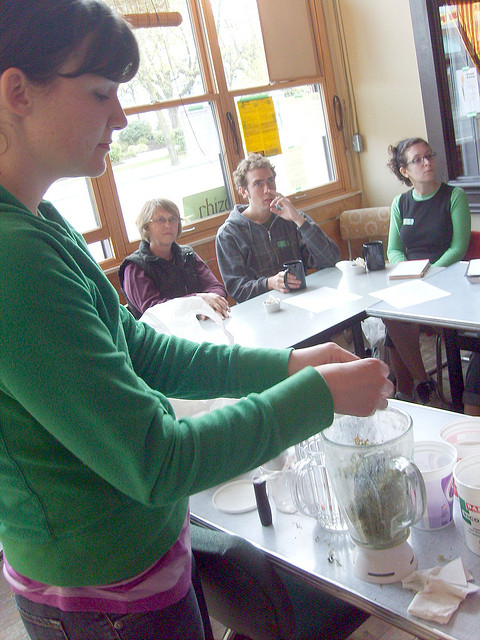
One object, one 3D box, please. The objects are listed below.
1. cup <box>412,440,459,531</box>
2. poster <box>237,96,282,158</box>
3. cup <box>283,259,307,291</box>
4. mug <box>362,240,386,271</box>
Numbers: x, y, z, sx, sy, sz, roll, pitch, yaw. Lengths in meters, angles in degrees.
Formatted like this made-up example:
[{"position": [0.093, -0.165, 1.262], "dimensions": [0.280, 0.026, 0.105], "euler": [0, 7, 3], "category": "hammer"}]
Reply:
[{"position": [0.304, 0.277, 0.781], "dimensions": [0.089, 0.112, 0.098], "euler": [0, -20, -2], "category": "cup"}, {"position": [0.163, -1.657, 4.092], "dimensions": [0.400, 0.468, 0.024], "euler": [-26, 17, -33], "category": "poster"}, {"position": [0.303, -0.241, 2.609], "dimensions": [0.102, 0.171, 0.172], "euler": [3, 23, 39], "category": "cup"}, {"position": [0.773, -0.375, 2.730], "dimensions": [0.149, 0.169, 0.097], "euler": [-25, 16, -30], "category": "mug"}]
